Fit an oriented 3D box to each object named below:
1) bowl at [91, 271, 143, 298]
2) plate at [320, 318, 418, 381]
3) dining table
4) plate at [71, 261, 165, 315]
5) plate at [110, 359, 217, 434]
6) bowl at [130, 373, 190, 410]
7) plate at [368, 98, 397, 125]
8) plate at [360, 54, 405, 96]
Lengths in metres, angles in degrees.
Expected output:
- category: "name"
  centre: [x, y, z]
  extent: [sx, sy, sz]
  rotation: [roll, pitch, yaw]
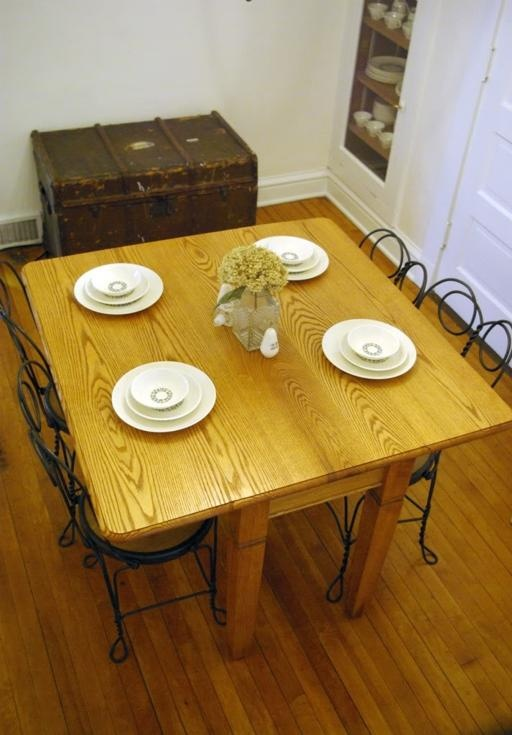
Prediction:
- category: "bowl"
  centre: [-0.439, -0.263, 1.814]
  extent: [0.111, 0.029, 0.110]
  rotation: [0, 43, 0]
- category: "plate"
  centre: [0.302, -0.046, 1.576]
  extent: [0.184, 0.044, 0.185]
  rotation: [-31, 57, -32]
- category: "dining table"
  centre: [-0.091, 0.201, 2.018]
  extent: [1.228, 1.188, 1.242]
  rotation: [-20, 52, -20]
- category: "plate"
  centre: [-0.413, -0.243, 1.803]
  extent: [0.197, 0.045, 0.198]
  rotation: [-13, 45, -18]
- category: "plate"
  centre: [-0.215, 0.060, 1.396]
  extent: [0.249, 0.049, 0.263]
  rotation: [-5, 38, -14]
- category: "bowl"
  centre: [-0.225, 0.057, 1.403]
  extent: [0.100, 0.026, 0.101]
  rotation: [2, 45, -2]
- category: "plate"
  centre: [0.737, -1.474, 3.398]
  extent: [0.131, 0.105, 0.146]
  rotation: [-20, 53, -18]
- category: "plate"
  centre: [0.729, -1.653, 3.270]
  extent: [0.220, 0.056, 0.231]
  rotation: [-14, 51, -14]
